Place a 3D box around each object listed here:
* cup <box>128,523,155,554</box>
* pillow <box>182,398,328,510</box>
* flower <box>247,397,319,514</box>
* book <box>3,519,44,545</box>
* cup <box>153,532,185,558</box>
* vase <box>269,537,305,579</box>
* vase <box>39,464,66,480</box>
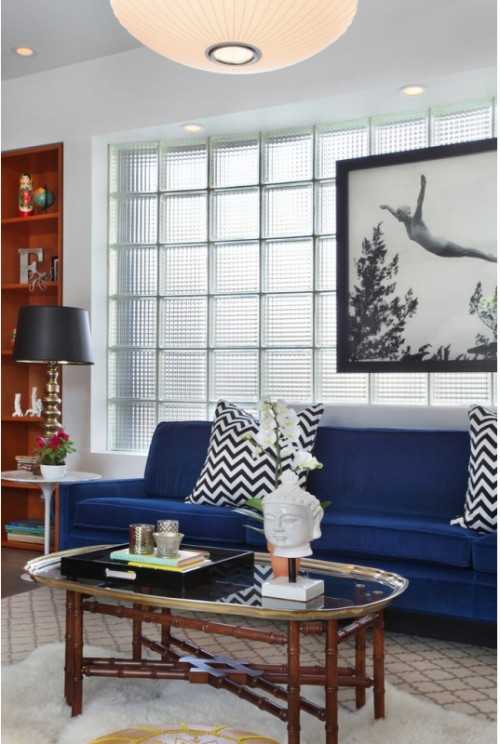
[{"bbox_3d":[-0.276,0.434,1.863,0.073,0.073,0.071,1,0,0],"label":"cup"},{"bbox_3d":[0.054,0.364,3.149,0.278,0.443,0.531,-11,4,-41],"label":"pillow"},{"bbox_3d":[0.092,0.251,1.943,0.242,0.362,0.125,3,26,3],"label":"flower"},{"bbox_3d":[-1.300,0.940,4.173,0.239,0.074,0.180,-2,-2,36],"label":"book"},{"bbox_3d":[-0.200,0.437,1.812,0.063,0.044,0.064,2,-5,0],"label":"cup"},{"bbox_3d":[0.085,0.460,1.751,0.097,0.100,0.093,-1,0,10],"label":"vase"},{"bbox_3d":[-0.932,0.475,3.407,0.089,0.050,0.084,2,-2,-30],"label":"vase"}]
